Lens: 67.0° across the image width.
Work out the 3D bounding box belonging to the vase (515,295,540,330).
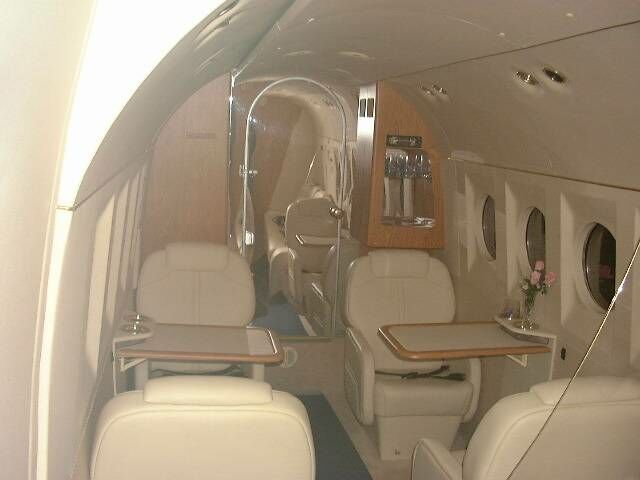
[{"bbox_3d":[1.344,0.452,3.154,0.165,0.209,0.181,-2,10,-11],"label":"vase"}]

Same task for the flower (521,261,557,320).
[{"bbox_3d":[1.370,0.320,3.062,0.155,0.362,0.413,-3,-7,13],"label":"flower"}]

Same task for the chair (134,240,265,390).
[{"bbox_3d":[-0.966,0.539,3.909,0.901,1.025,0.846,3,4,-17],"label":"chair"}]

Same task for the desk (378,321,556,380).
[{"bbox_3d":[0.924,0.671,3.264,1.043,0.213,0.599,-2,-8,3],"label":"desk"}]
